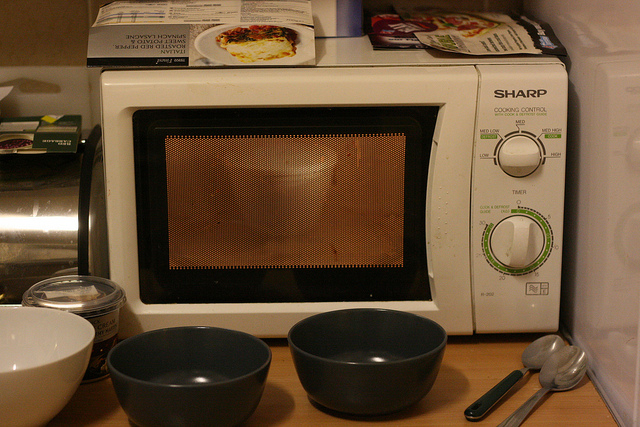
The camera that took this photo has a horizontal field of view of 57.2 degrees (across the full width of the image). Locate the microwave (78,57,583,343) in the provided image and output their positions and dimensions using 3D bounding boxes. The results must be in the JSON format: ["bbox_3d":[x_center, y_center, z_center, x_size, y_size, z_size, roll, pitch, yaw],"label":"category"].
[{"bbox_3d":[0.022,-0.037,1.143,0.736,0.457,0.438,-1,10,1],"label":"microwave"}]

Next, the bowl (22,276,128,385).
[{"bbox_3d":[-0.342,0.157,0.907,0.155,0.122,0.154,5,23,-2],"label":"bowl"}]

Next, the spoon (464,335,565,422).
[{"bbox_3d":[0.324,0.230,0.941,0.070,0.041,0.302,24,39,32],"label":"spoon"}]

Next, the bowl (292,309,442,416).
[{"bbox_3d":[0.075,0.222,0.866,0.211,0.133,0.168,0,7,22],"label":"bowl"}]
